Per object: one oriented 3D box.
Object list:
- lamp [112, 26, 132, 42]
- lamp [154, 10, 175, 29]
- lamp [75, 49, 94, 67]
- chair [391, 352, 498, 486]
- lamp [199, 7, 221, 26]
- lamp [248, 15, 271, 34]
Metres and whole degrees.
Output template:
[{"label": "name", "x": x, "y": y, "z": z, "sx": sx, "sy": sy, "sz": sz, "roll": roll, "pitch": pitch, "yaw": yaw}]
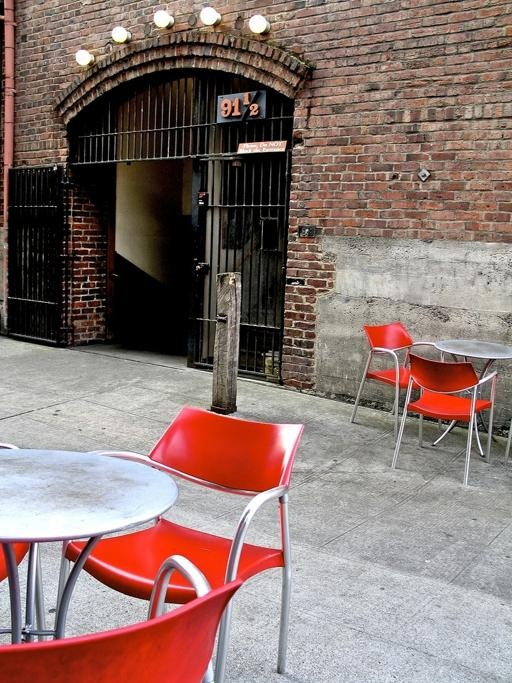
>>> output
[{"label": "lamp", "x": -1.716, "y": -3.895, "z": 7.468, "sx": 0.253, "sy": 0.233, "sz": 0.178, "roll": 9, "pitch": 28, "yaw": 1}, {"label": "lamp", "x": -1.119, "y": -3.891, "z": 7.123, "sx": 0.256, "sy": 0.243, "sz": 0.228, "roll": 12, "pitch": 27, "yaw": 4}, {"label": "lamp", "x": -2.276, "y": -3.816, "z": 7.819, "sx": 0.272, "sy": 0.260, "sz": 0.063, "roll": 13, "pitch": 32, "yaw": 16}, {"label": "chair", "x": 1.433, "y": 0.524, "z": 4.371, "sx": 0.726, "sy": 0.868, "sz": 0.729, "roll": -8, "pitch": 14, "yaw": -29}, {"label": "lamp", "x": -0.520, "y": -3.692, "z": 6.640, "sx": 0.247, "sy": 0.239, "sz": 0.058, "roll": 16, "pitch": 42, "yaw": 20}, {"label": "lamp", "x": 0.035, "y": -3.500, "z": 6.408, "sx": 0.246, "sy": 0.229, "sz": 0.223, "roll": 4, "pitch": 8, "yaw": 9}]
